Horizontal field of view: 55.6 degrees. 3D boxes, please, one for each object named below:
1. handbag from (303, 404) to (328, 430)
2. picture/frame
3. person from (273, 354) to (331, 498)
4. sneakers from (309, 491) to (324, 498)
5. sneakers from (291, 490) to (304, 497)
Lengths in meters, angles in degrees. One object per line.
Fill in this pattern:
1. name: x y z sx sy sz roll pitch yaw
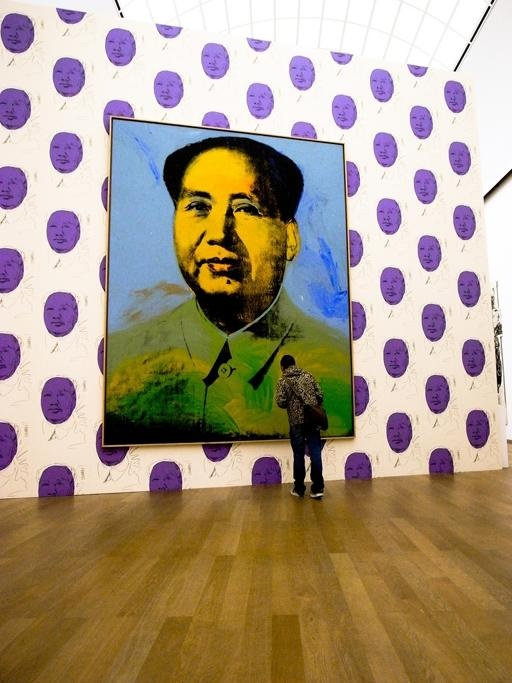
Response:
1. handbag: 0.615 0.781 5.081 0.226 0.233 0.080 -1 -8 -2
2. picture/frame: -0.456 -0.640 6.006 4.194 4.984 0.066 1 -5 -16
3. person: 0.511 0.889 5.272 0.538 1.519 0.411 -4 -8 19
4. sneakers: 0.634 1.597 5.086 0.141 0.068 0.130 -2 -7 5
5. sneakers: 0.416 1.608 5.156 0.156 0.064 0.142 -4 -7 23
